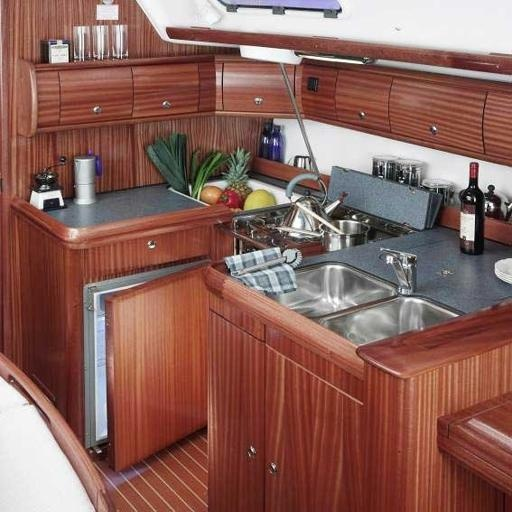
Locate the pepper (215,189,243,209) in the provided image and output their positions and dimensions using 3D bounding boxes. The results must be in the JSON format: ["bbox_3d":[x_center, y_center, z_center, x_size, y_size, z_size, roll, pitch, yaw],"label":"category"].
[{"bbox_3d":[-0.146,-0.324,2.961,0.138,0.116,0.143,-18,-10,31],"label":"pepper"}]

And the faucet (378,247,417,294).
[{"bbox_3d":[0.448,0.044,1.604,0.094,0.133,0.111,10,17,36],"label":"faucet"}]

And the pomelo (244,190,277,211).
[{"bbox_3d":[0.028,-0.308,2.888,0.117,0.119,0.101,21,-19,-2],"label":"pomelo"}]

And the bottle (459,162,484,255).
[{"bbox_3d":[0.805,-0.176,1.937,0.102,0.341,0.132,6,15,21],"label":"bottle"}]

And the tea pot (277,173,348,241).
[{"bbox_3d":[0.269,-0.224,2.422,0.307,0.309,0.319,1,18,0],"label":"tea pot"}]

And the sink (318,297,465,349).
[{"bbox_3d":[0.380,0.182,1.591,0.347,0.156,0.278,-6,16,-27],"label":"sink"}]

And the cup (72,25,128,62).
[{"bbox_3d":[-0.767,-1.037,2.526,0.268,0.131,0.087,-8,16,-32],"label":"cup"}]

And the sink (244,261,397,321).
[{"bbox_3d":[0.204,0.110,1.691,0.397,0.088,0.307,-10,17,-34],"label":"sink"}]

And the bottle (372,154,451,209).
[{"bbox_3d":[0.708,-0.365,2.429,0.354,0.223,0.209,4,20,18],"label":"bottle"}]

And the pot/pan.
[{"bbox_3d":[0.313,-0.106,2.301,0.438,0.129,0.160,-6,24,-8],"label":"pot/pan"}]
